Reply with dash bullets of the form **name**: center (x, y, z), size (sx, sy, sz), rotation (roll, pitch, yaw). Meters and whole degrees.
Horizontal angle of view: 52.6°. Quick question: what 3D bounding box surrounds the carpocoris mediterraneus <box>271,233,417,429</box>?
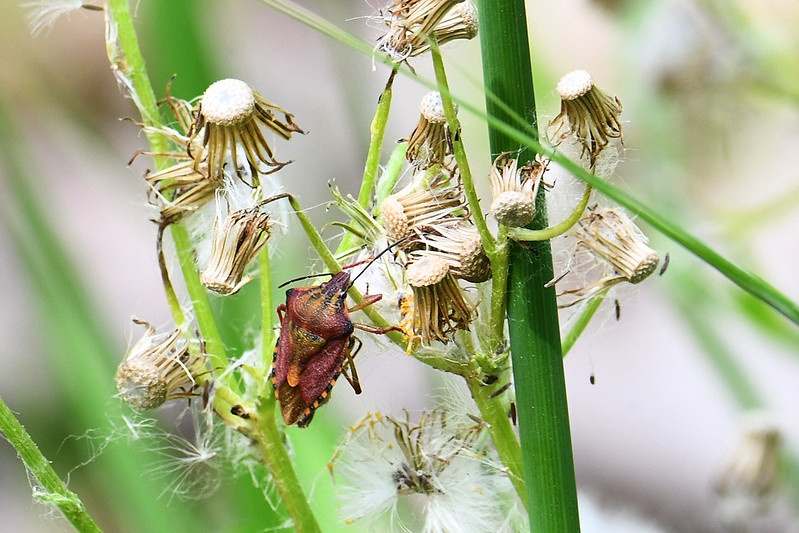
- **carpocoris mediterraneus**: center (-0.085, 0.074, 0.980), size (0.138, 0.255, 0.063), rotation (22, -13, 16)
